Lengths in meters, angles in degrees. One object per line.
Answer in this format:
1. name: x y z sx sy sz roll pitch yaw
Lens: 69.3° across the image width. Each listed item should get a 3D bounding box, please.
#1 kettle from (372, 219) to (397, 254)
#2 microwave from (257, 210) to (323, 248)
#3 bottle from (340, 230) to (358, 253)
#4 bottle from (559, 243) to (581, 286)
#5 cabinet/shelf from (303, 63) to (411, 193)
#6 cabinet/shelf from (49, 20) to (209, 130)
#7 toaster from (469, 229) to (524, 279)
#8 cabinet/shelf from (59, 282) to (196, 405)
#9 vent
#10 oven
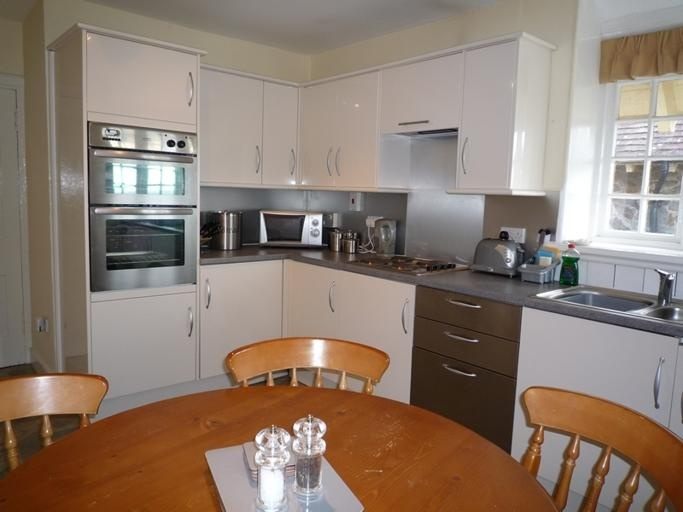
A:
1. kettle: 0.352 -0.170 4.150 0.091 0.292 0.232 -8 9 -43
2. microwave: -0.429 -0.239 4.280 0.495 0.320 0.314 0 1 -7
3. bottle: 0.066 -0.115 4.208 0.141 0.167 0.203 -2 7 0
4. bottle: 1.395 0.046 3.028 0.103 0.253 0.148 4 9 41
5. cabinet/shelf: 0.143 -1.001 3.898 0.413 0.950 1.052 -5 10 -43
6. cabinet/shelf: -1.323 -1.172 3.251 0.973 0.629 0.552 -6 11 -40
7. toaster: 1.054 -0.021 3.338 0.338 0.295 0.211 9 7 41
8. cabinet/shelf: -1.549 0.426 3.674 0.955 0.919 0.709 -3 5 -39
9. vent: 0.623 -1.124 3.583 0.671 0.485 0.366 3 4 33
10. oven: -1.443 -0.212 3.599 0.835 0.953 0.806 3 -8 -45
